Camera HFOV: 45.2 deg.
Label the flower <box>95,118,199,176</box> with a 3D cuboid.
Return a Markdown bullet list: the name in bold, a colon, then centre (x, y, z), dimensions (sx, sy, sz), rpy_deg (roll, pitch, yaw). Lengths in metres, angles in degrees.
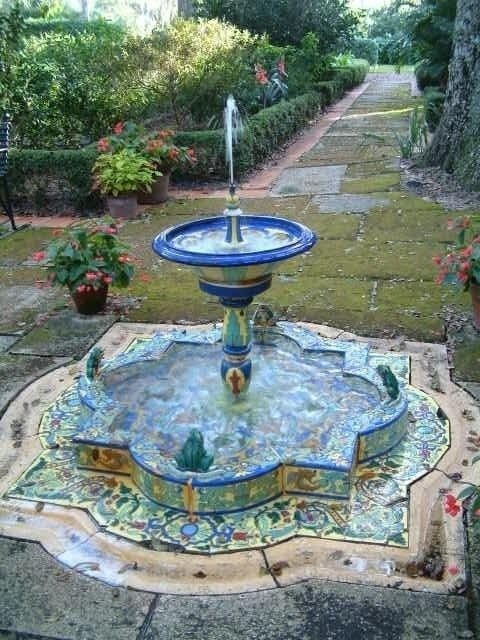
- **flower**: centre (-1.586, -2.922, 9.313), dimensions (1.351, 0.580, 1.442), rpy_deg (12, 13, 20)

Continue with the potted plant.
- **potted plant**: centre (-1.699, -2.006, 8.605), dimensions (0.878, 0.772, 0.867), rpy_deg (-8, 30, -11)

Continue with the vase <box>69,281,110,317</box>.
- **vase**: centre (-1.383, -0.186, 5.302), dimensions (0.328, 0.230, 0.306), rpy_deg (3, 30, 1)

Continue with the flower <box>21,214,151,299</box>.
- **flower**: centre (-1.351, -0.552, 5.255), dimensions (0.713, 0.465, 0.587), rpy_deg (16, 20, 41)

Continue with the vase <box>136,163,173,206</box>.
- **vase**: centre (-1.375, -2.180, 9.292), dimensions (0.560, 0.413, 0.559), rpy_deg (1, 30, 1)
